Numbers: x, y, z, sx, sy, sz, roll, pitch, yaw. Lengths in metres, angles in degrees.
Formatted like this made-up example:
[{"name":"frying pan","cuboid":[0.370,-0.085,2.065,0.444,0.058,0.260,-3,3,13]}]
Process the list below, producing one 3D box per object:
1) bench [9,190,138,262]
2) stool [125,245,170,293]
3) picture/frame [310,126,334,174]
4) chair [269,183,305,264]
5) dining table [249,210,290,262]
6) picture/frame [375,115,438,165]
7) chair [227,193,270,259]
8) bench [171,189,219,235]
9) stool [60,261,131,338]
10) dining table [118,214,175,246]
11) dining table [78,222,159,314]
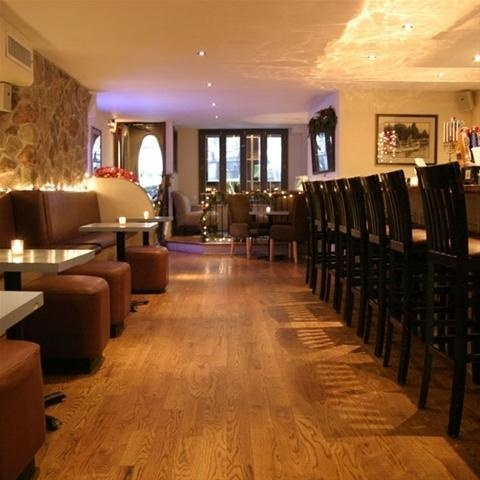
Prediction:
[{"name":"bench","cuboid":[-2.090,-0.206,5.821,0.867,1.026,2.581,1,6,-4]},{"name":"stool","cuboid":[-1.012,0.310,4.470,0.377,0.508,0.435,1,-1,-1]},{"name":"picture/frame","cuboid":[1.589,-1.736,8.019,0.861,0.958,0.073,-23,22,-40]},{"name":"chair","cuboid":[0.754,-0.225,7.003,0.447,1.054,0.545,1,6,12]},{"name":"dining table","cuboid":[0.449,-0.104,7.915,0.813,1.015,0.908,-3,7,-17]},{"name":"picture/frame","cuboid":[2.836,-1.812,7.411,0.935,0.946,0.038,-7,14,-27]},{"name":"chair","cuboid":[0.144,-0.258,7.542,0.646,1.170,0.723,1,4,29]},{"name":"bench","cuboid":[-1.308,-0.907,10.864,1.178,1.093,1.307,8,21,24]},{"name":"stool","cuboid":[-1.017,0.368,2.933,0.419,0.484,0.482,0,-1,-5]},{"name":"dining table","cuboid":[-1.317,-0.131,5.733,0.527,0.660,0.602,2,7,13]},{"name":"dining table","cuboid":[-1.150,0.228,4.015,0.782,1.004,0.900,1,5,10]}]
